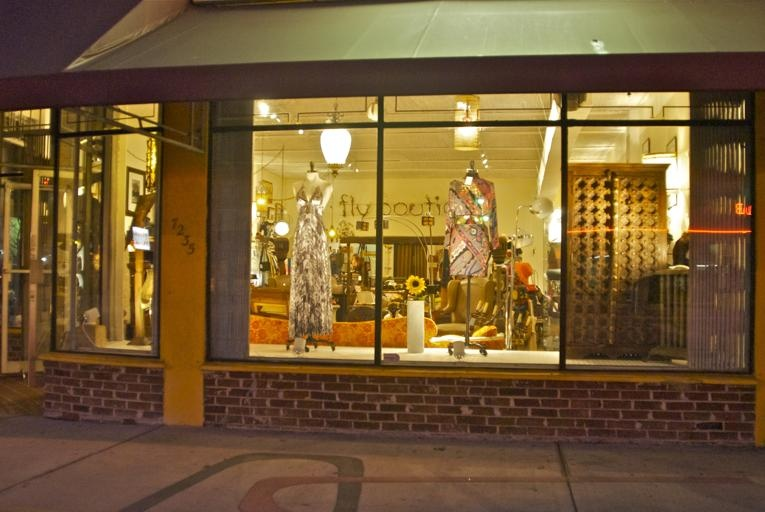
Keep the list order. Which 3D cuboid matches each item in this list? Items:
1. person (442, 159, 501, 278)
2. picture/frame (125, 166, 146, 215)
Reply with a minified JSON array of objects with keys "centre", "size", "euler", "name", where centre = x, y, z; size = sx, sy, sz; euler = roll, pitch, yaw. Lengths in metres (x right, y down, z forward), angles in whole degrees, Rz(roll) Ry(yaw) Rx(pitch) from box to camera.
[{"centre":[0.994,-0.412,9.676],"size":[0.574,1.274,0.204],"euler":[1,-4,4],"name":"person"},{"centre":[-2.870,-0.759,10.027],"size":[0.307,0.546,0.016],"euler":[10,11,28],"name":"picture/frame"}]
